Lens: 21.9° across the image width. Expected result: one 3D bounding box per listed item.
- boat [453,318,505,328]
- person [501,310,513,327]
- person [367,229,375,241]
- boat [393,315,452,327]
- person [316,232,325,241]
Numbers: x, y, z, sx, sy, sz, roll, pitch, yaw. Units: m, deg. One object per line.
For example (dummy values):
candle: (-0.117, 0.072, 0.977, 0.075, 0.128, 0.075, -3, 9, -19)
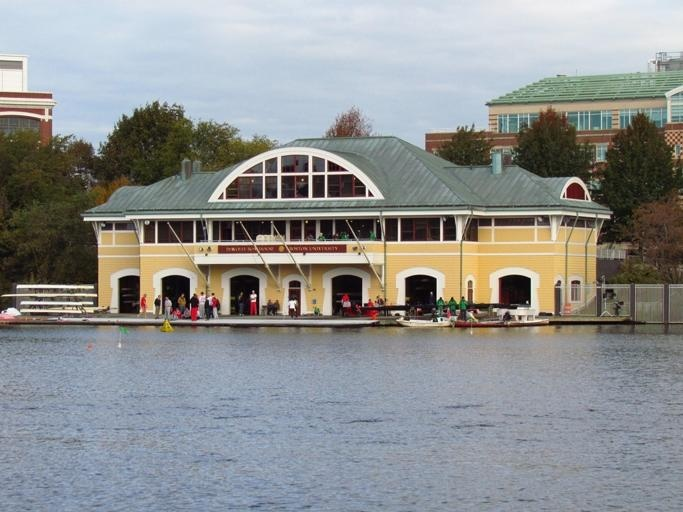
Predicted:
boat: (8.909, 4.351, 114.221, 3.315, 0.511, 2.994, -1, -1, -2)
person: (10.721, 3.993, 114.202, 0.574, 1.042, 1.339, -1, -1, 4)
person: (2.202, -1.496, 122.695, 0.598, 0.839, 1.543, -1, -1, 0)
boat: (5.462, 4.316, 114.575, 3.310, 0.765, 1.176, 0, -3, 3)
person: (-1.380, -1.349, 123.487, 0.615, 0.859, 0.424, 6, 19, 18)
